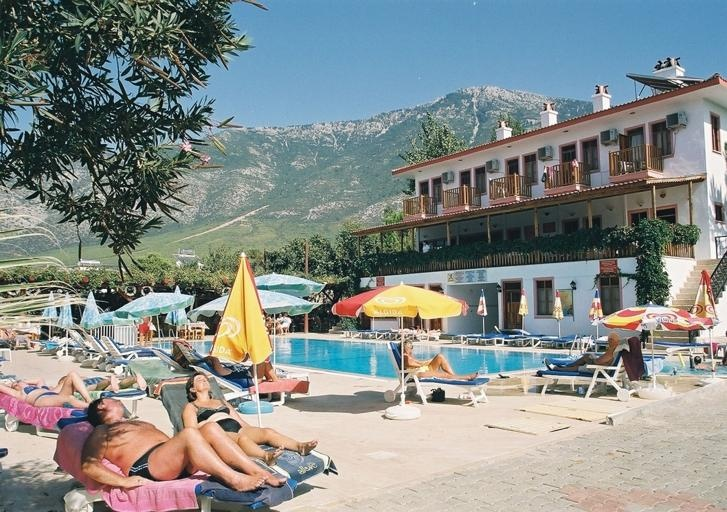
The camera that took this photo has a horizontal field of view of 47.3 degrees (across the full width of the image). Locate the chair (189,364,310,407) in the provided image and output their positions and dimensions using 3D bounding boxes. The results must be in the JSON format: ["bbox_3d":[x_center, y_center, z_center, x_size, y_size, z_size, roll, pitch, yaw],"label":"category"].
[{"bbox_3d":[-2.077,2.699,17.263,1.930,0.693,1.053,1,-3,-26],"label":"chair"}]

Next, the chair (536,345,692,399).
[{"bbox_3d":[4.930,2.452,17.888,2.079,0.962,1.425,-5,-9,37],"label":"chair"}]

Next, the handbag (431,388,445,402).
[{"bbox_3d":[1.586,2.900,17.429,0.288,0.264,0.216,-1,-7,13],"label":"handbag"}]

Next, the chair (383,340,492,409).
[{"bbox_3d":[1.518,2.447,17.852,2.156,1.280,2.408,-1,-4,1],"label":"chair"}]
